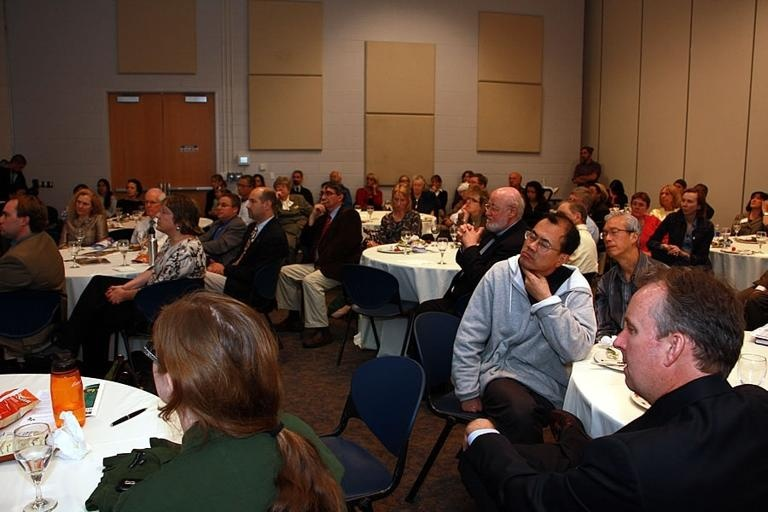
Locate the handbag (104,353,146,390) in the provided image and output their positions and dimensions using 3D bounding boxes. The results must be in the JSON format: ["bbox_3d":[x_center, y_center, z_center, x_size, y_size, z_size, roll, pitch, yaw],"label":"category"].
[{"bbox_3d":[-1.881,0.833,3.999,0.182,0.189,0.245,-13,-28,-5],"label":"handbag"}]

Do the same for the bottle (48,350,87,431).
[{"bbox_3d":[-1.172,0.496,1.965,0.104,0.236,0.108,1,12,0],"label":"bottle"}]

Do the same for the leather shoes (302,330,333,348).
[{"bbox_3d":[-0.641,0.784,5.157,0.131,0.152,0.367,1,1,43],"label":"leather shoes"}]

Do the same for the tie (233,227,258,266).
[{"bbox_3d":[-1.389,-0.097,5.375,0.073,0.290,0.301,28,3,20],"label":"tie"}]

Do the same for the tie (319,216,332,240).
[{"bbox_3d":[-0.626,-0.316,5.806,0.058,0.252,0.144,21,-10,-28],"label":"tie"}]

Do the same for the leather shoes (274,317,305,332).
[{"bbox_3d":[-0.969,0.704,5.540,0.266,0.122,0.136,3,-2,-24],"label":"leather shoes"}]

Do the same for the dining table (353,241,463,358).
[{"bbox_3d":[0.221,0.358,4.929,0.842,0.697,0.900,1,6,0],"label":"dining table"}]

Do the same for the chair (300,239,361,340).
[{"bbox_3d":[-0.623,0.446,5.128,0.675,1.186,0.692,0,5,-21],"label":"chair"}]
